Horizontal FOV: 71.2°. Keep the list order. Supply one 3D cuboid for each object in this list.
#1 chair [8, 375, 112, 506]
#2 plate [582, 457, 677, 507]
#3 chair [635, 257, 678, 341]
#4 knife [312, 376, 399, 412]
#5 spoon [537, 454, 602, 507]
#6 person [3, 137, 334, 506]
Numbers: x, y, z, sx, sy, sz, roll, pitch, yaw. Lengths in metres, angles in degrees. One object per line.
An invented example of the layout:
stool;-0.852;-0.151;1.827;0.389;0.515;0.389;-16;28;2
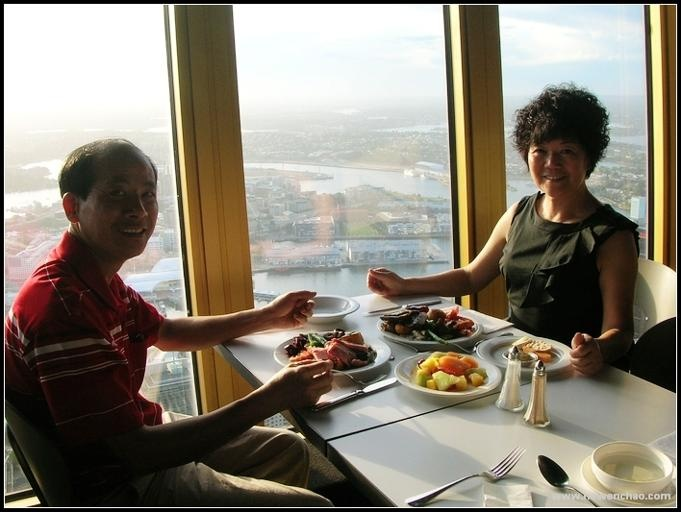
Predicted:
chair;-0.754;0.471;1.395;0.308;0.340;0.266;-11;14;-30
plate;0.641;0.512;1.061;0.184;0.050;0.099;-2;11;26
chair;1.267;0.186;1.924;0.140;0.322;0.267;-1;12;33
knife;0.041;0.411;1.401;0.269;0.027;0.039;-12;17;-33
spoon;0.511;0.505;1.061;0.041;0.021;0.152;-10;13;-10
person;-0.502;0.196;1.530;0.880;1.161;0.737;-8;11;-3
